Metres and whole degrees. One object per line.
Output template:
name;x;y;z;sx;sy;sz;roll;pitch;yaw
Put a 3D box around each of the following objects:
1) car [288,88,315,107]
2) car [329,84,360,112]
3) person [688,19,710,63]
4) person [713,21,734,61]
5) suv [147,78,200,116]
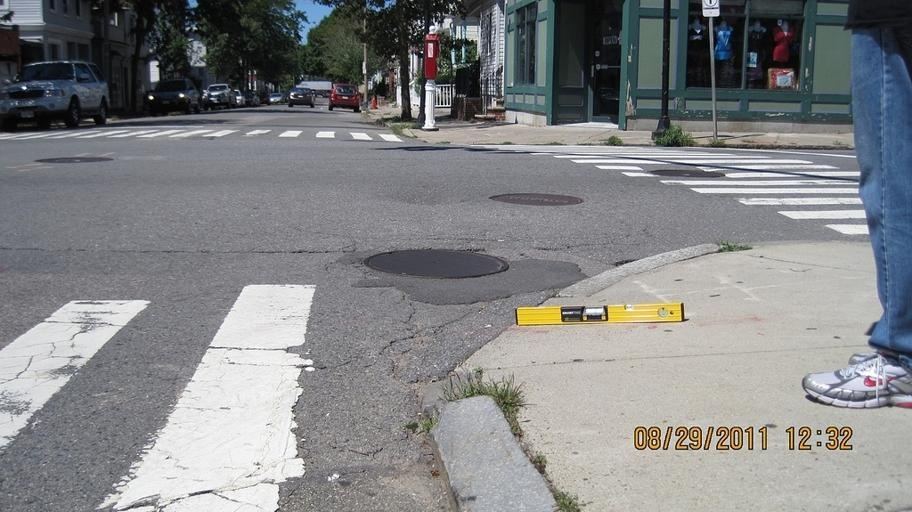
car;-14.984;-15.370;67.031;2.203;1.858;2.333;-2;14;-3
car;-9.318;-13.216;57.736;2.239;2.094;2.848;-2;14;-3
person;8.283;-7.398;23.745;0.685;1.473;0.387;1;15;8
person;9.115;-7.326;23.581;0.632;1.310;0.137;-3;14;-4
suv;-17.815;-10.022;43.581;2.444;2.127;3.580;-4;14;-10
